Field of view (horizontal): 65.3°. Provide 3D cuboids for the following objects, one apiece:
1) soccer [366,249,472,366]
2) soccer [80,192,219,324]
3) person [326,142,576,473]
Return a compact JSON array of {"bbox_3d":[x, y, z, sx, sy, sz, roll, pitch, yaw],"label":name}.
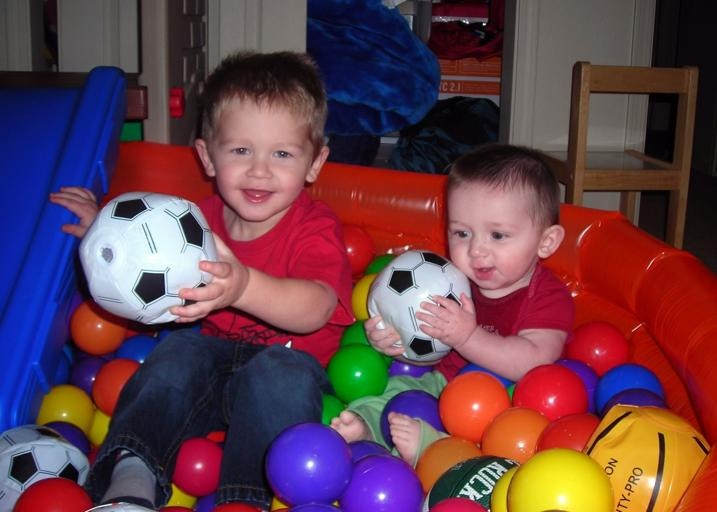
[{"bbox_3d":[0.175,0.143,1.819,0.340,0.400,0.340,11,-8,13],"label":"soccer"},{"bbox_3d":[-0.536,0.052,1.486,0.330,0.289,0.348,4,46,-34],"label":"soccer"},{"bbox_3d":[0.326,0.162,1.932,0.884,0.991,0.643,-9,20,-26],"label":"person"}]
